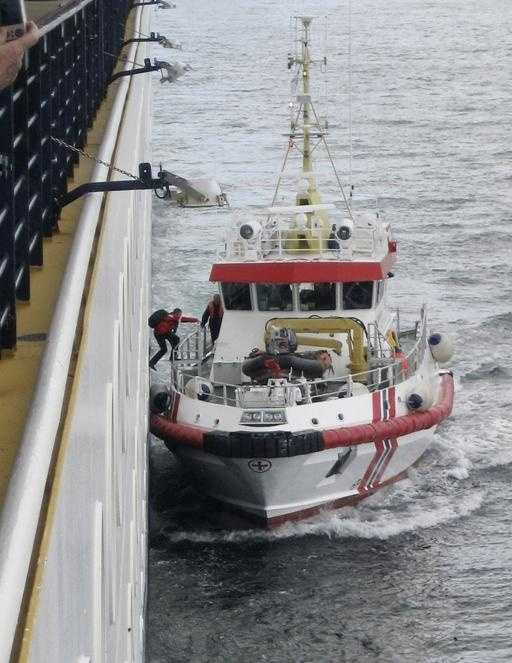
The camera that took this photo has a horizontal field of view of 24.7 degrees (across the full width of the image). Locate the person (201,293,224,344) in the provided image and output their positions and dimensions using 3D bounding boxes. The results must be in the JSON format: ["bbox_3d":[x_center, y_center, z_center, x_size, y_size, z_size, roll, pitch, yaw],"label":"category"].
[{"bbox_3d":[-0.516,-0.163,14.997,0.388,0.718,0.169,-8,33,-13],"label":"person"}]

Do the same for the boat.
[{"bbox_3d":[0.502,-0.776,12.279,2.954,5.045,4.242,0,13,7],"label":"boat"}]

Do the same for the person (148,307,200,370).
[{"bbox_3d":[-1.171,0.118,16.378,0.982,1.044,0.476,-6,39,-9],"label":"person"}]
